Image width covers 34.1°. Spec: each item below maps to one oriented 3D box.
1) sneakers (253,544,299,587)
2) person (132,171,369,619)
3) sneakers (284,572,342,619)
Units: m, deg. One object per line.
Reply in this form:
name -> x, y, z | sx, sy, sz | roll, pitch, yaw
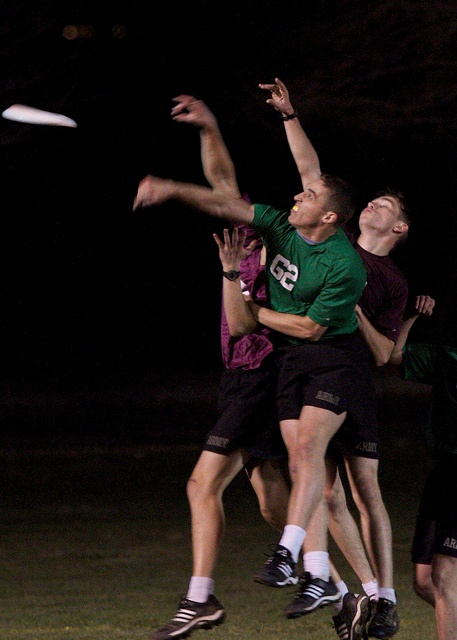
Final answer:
sneakers -> 0.190, 0.891, 2.649 | 0.088, 0.104, 0.231 | 3, -9, 30
person -> 0.147, 0.188, 3.027 | 0.761, 1.640, 0.439 | 3, -15, 16
sneakers -> 0.286, 1.019, 2.762 | 0.095, 0.129, 0.299 | -42, -27, 30
